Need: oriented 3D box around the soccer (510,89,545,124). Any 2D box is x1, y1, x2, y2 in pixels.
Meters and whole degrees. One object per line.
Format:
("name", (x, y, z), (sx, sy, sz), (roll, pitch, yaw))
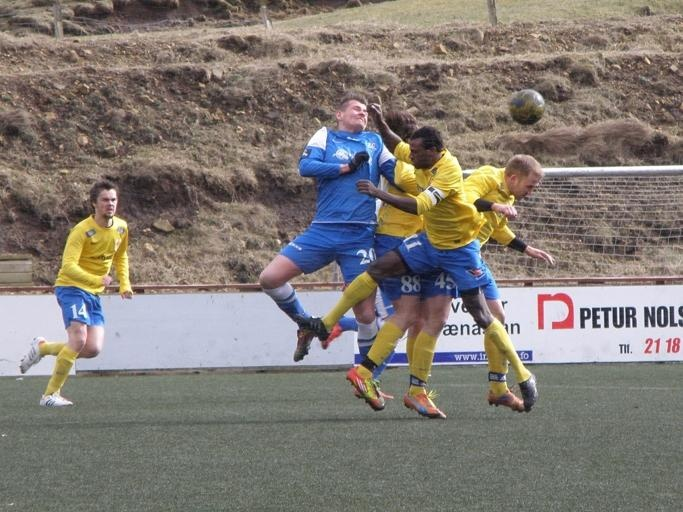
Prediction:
("soccer", (5.067, -3.903, 39.103), (0.822, 0.815, 0.790), (4, -7, -42))
